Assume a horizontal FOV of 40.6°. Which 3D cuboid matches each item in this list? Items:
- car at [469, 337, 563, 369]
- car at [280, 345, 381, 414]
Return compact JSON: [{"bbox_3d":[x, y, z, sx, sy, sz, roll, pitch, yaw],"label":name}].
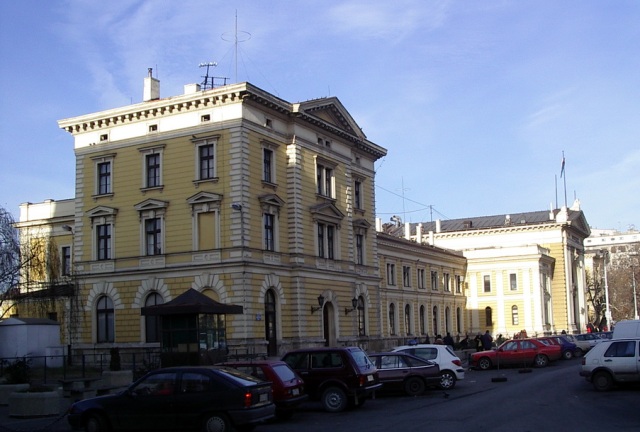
[{"bbox_3d":[13.228,9.366,58.411,5.532,1.648,2.354,1,-10,-12],"label":"car"},{"bbox_3d":[0.632,7.846,41.472,6.895,2.635,3.098,-2,-8,18],"label":"car"}]
